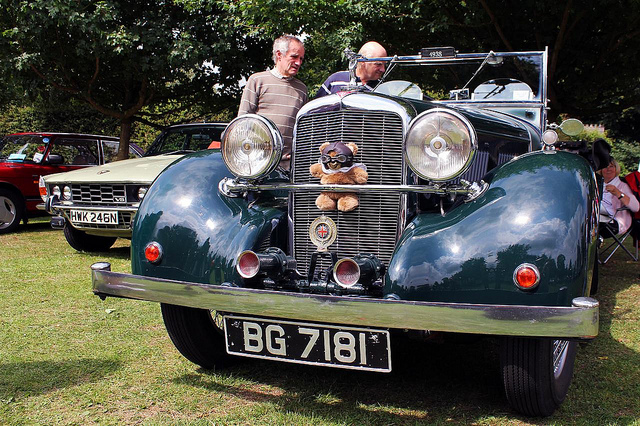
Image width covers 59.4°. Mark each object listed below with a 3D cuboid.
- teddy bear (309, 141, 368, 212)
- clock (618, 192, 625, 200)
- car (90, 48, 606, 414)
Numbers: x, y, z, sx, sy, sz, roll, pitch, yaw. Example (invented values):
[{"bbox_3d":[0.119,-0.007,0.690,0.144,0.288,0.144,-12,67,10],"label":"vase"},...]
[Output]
[{"bbox_3d":[0.147,-0.283,4.320,0.443,0.537,0.249,-1,13,-2],"label":"teddy bear"},{"bbox_3d":[4.141,-0.248,7.684,0.068,0.093,0.075,3,14,16],"label":"clock"},{"bbox_3d":[0.481,0.027,4.847,3.456,2.535,2.815,4,14,18],"label":"car"}]
